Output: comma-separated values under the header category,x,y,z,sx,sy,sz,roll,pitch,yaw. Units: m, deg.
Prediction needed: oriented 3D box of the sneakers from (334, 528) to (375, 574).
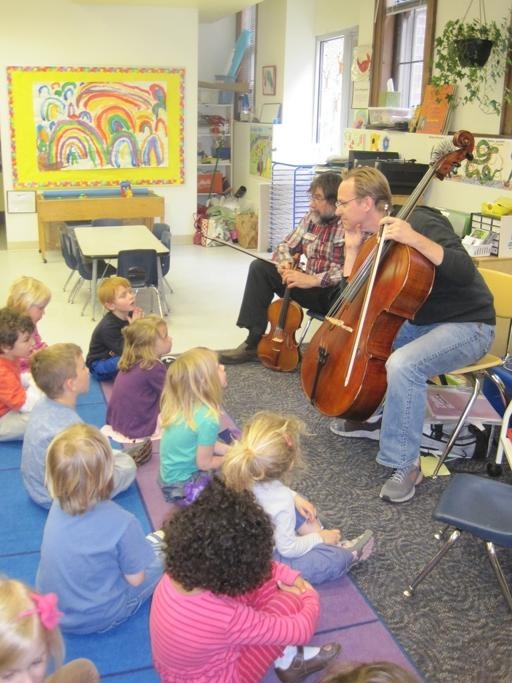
category,x,y,z,sx,sy,sz,roll,pitch,yaw
sneakers,0.358,0.733,2.052,0.097,0.070,0.211,14,24,24

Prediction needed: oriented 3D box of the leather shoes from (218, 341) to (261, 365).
category,x,y,z,sx,sy,sz,roll,pitch,yaw
leather shoes,-0.124,0.087,4.051,0.307,0.137,0.125,-1,9,-20

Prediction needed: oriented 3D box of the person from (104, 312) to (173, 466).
category,x,y,z,sx,sy,sz,roll,pitch,yaw
person,-0.536,0.252,2.919,0.395,0.767,0.256,-12,30,-31

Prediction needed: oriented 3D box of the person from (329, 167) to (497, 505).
category,x,y,z,sx,sy,sz,roll,pitch,yaw
person,0.684,-0.081,2.589,0.565,1.571,0.734,7,-4,5

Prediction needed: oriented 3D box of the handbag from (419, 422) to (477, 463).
category,x,y,z,sx,sy,sz,roll,pitch,yaw
handbag,0.941,0.494,2.765,0.242,0.176,0.083,6,13,14

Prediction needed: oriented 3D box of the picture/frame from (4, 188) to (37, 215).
category,x,y,z,sx,sy,sz,roll,pitch,yaw
picture/frame,-3.150,-1.888,7.535,0.387,0.335,0.049,-1,13,-19

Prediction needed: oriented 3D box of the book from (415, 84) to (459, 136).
category,x,y,z,sx,sy,sz,roll,pitch,yaw
book,1.521,-1.966,4.783,0.105,0.419,0.430,6,8,-25

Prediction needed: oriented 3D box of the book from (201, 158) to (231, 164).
category,x,y,z,sx,sy,sz,roll,pitch,yaw
book,-0.705,-3.053,9.549,0.551,0.110,0.077,-8,24,-24

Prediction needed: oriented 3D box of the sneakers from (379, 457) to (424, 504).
category,x,y,z,sx,sy,sz,roll,pitch,yaw
sneakers,0.634,0.607,2.474,0.105,0.107,0.245,18,26,27

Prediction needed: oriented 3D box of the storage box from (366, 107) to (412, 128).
category,x,y,z,sx,sy,sz,roll,pitch,yaw
storage box,1.276,-2.167,5.452,0.447,0.189,0.290,0,22,0

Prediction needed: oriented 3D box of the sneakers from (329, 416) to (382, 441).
category,x,y,z,sx,sy,sz,roll,pitch,yaw
sneakers,0.503,0.467,3.112,0.346,0.146,0.114,5,2,1

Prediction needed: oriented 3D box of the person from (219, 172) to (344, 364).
category,x,y,z,sx,sy,sz,roll,pitch,yaw
person,0.236,-0.516,3.922,0.869,1.313,0.559,-3,34,-17
